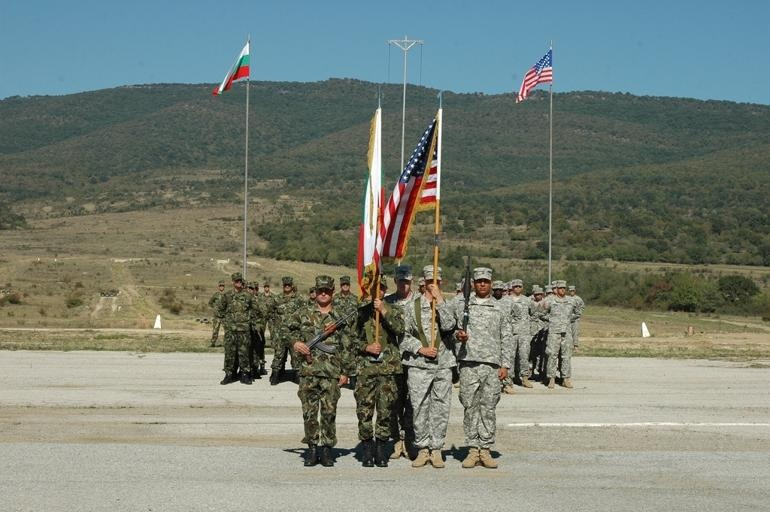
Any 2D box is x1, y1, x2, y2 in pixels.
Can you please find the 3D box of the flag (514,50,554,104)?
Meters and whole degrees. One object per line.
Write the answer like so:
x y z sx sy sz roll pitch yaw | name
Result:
12.529 -15.091 121.574 2.243 3.926 4.665 3 2 2 | flag
